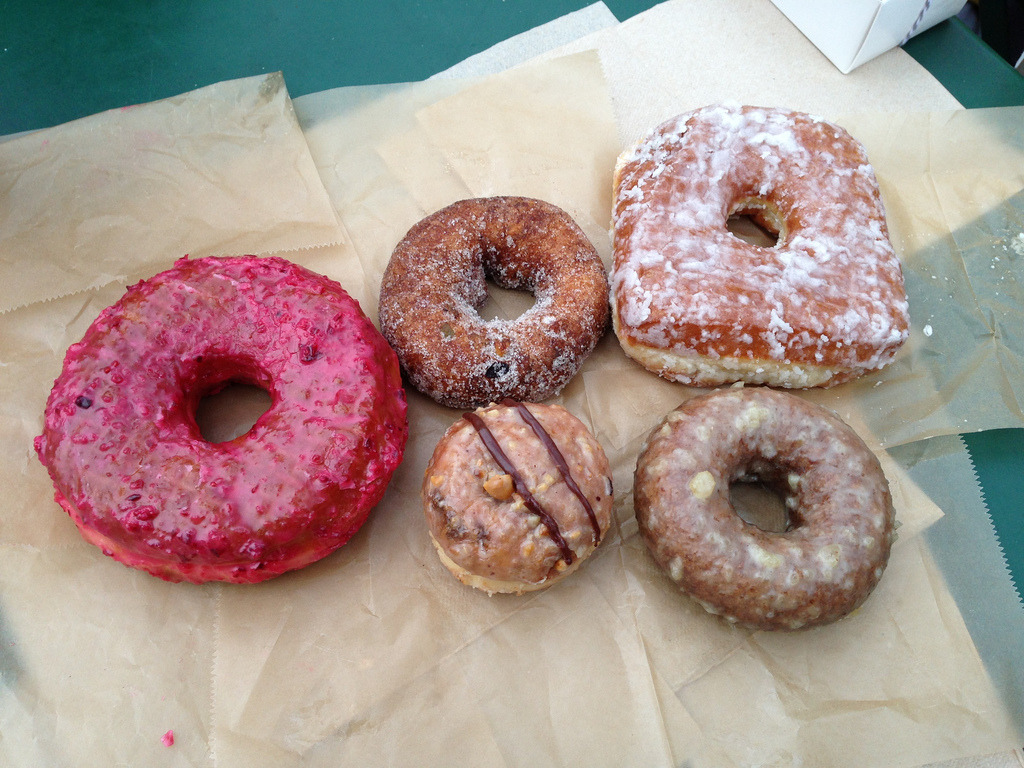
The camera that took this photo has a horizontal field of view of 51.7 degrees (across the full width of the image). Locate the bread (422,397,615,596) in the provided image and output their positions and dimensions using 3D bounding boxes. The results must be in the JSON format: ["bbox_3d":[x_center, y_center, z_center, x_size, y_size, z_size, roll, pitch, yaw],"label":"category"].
[{"bbox_3d":[0.017,0.361,3.237,0.561,0.297,0.658,12,57,0],"label":"bread"}]
